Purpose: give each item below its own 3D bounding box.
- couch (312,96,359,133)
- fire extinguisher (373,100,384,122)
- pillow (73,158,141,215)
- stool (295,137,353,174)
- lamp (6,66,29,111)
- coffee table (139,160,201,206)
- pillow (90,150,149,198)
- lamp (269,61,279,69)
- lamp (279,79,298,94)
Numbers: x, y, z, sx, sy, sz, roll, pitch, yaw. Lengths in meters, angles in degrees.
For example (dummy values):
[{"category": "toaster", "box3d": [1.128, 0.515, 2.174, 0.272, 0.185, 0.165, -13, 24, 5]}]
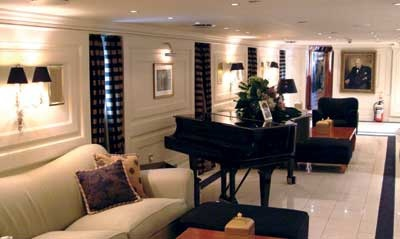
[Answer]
[{"category": "couch", "box3d": [4.444, -0.098, 9.382, 1.307, 1.078, 0.987, 0, 14, 33]}, {"category": "fire extinguisher", "box3d": [7.486, -0.373, 11.953, 0.412, 0.941, 0.207, 6, 16, 26]}, {"category": "pillow", "box3d": [-1.342, 0.938, 4.259, 0.967, 0.819, 0.234, -6, -1, 10]}, {"category": "stool", "box3d": [3.097, 0.629, 6.996, 1.251, 0.563, 0.921, 2, 9, 32]}, {"category": "lamp", "box3d": [-2.573, -0.435, 4.057, 0.240, 0.629, 0.282, -10, 16, -31]}, {"category": "coffee table", "box3d": [-0.459, 1.042, 4.631, 0.680, 0.635, 0.676, 0, 3, 32]}, {"category": "pillow", "box3d": [-1.247, 0.852, 4.357, 0.703, 0.264, 0.672, 12, 39, -39]}, {"category": "lamp", "box3d": [2.897, -2.114, 11.210, 0.319, 0.199, 0.324, -1, -4, 42]}, {"category": "lamp", "box3d": [2.907, -1.082, 9.433, 0.658, 0.370, 0.614, -1, 2, -5]}]
